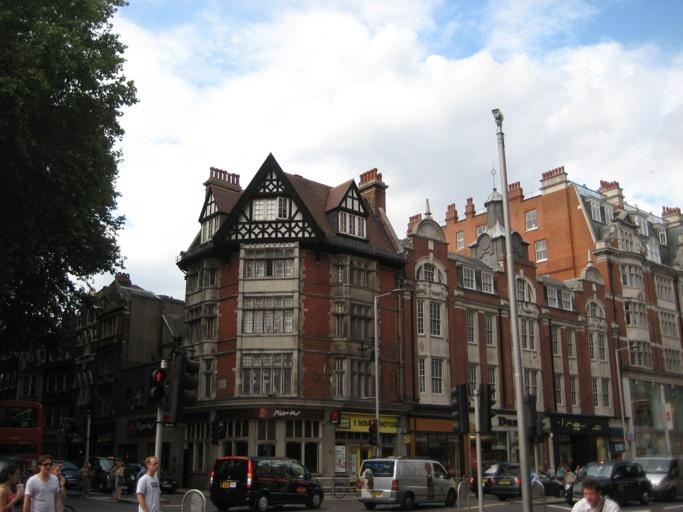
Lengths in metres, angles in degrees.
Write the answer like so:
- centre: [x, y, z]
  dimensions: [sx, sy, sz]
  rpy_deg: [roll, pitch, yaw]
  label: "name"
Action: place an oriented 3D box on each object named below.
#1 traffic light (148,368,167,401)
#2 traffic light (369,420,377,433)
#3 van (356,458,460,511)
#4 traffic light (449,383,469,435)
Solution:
- centre: [-5.605, 3.938, 21.756]
  dimensions: [0.587, 1.046, 0.428]
  rpy_deg: [-2, -22, 4]
  label: "traffic light"
- centre: [1.765, 9.891, 41.218]
  dimensions: [0.174, 0.744, 0.666]
  rpy_deg: [16, -28, -35]
  label: "traffic light"
- centre: [3.115, 11.436, 36.058]
  dimensions: [4.696, 2.223, 2.570]
  rpy_deg: [10, -17, -40]
  label: "van"
- centre: [4.233, 5.447, 25.570]
  dimensions: [0.600, 1.883, 1.025]
  rpy_deg: [-4, -23, 9]
  label: "traffic light"
